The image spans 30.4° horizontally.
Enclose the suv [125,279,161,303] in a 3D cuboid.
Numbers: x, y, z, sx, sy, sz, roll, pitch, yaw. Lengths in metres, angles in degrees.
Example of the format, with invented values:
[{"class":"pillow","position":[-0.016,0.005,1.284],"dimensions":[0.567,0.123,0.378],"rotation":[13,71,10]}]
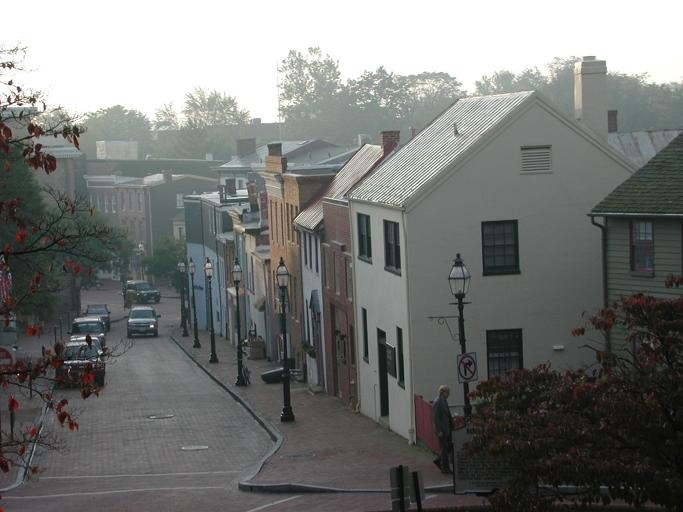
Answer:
[{"class":"suv","position":[-16.720,3.054,105.760],"dimensions":[1.557,1.396,2.859],"rotation":[-1,-3,-26]}]

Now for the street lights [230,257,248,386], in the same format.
[{"class":"street lights","position":[-4.377,2.823,54.341],"dimensions":[0.715,5.502,0.767],"rotation":[-6,7,-34]}]

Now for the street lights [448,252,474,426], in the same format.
[{"class":"street lights","position":[3.446,2.329,35.692],"dimensions":[0.779,4.713,0.874],"rotation":[-3,3,-3]}]

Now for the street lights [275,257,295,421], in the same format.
[{"class":"street lights","position":[-1.959,3.090,45.140],"dimensions":[0.799,5.885,0.625],"rotation":[-3,0,2]}]

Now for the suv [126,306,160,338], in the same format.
[{"class":"suv","position":[-12.690,4.292,80.871],"dimensions":[1.467,1.346,3.205],"rotation":[-1,-4,-7]}]

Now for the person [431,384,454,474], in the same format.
[{"class":"person","position":[2.857,4.821,35.143],"dimensions":[0.626,2.221,0.789],"rotation":[-1,2,-10]}]
